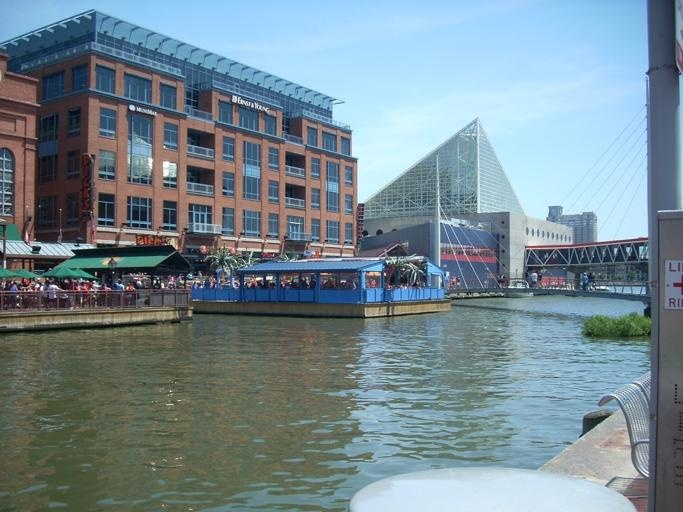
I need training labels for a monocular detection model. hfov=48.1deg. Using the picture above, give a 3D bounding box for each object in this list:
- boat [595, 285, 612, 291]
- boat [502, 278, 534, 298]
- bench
[{"bbox_3d":[23.711,2.925,69.498,1.058,0.382,10.381,-2,-3,18],"label":"boat"},{"bbox_3d":[23.434,4.269,101.860,2.509,2.661,8.946,-2,-7,14],"label":"boat"},{"bbox_3d":[5.319,3.218,14.445,0.864,0.712,2.571,10,6,27],"label":"bench"}]
